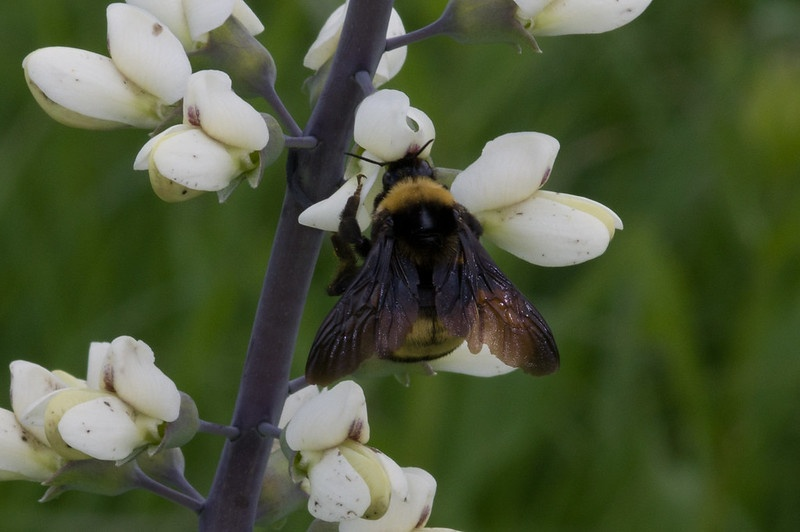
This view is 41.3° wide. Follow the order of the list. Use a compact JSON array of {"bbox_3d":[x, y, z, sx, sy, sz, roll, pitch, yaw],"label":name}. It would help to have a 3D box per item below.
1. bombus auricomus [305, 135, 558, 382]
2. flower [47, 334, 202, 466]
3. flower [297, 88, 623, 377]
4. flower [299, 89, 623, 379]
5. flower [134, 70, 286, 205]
[{"bbox_3d":[0.043,0.010,1.227,0.277,0.129,0.407,-10,52,11],"label":"bombus auricomus"},{"bbox_3d":[-0.312,0.150,1.178,0.157,0.143,0.097,10,11,23],"label":"flower"},{"bbox_3d":[0.042,0.001,1.212,0.226,0.116,0.373,-3,58,0],"label":"flower"},{"bbox_3d":[0.036,0.007,1.222,0.261,0.127,0.406,-3,52,-1],"label":"flower"},{"bbox_3d":[-0.212,-0.145,1.220,0.115,0.158,0.193,14,30,34],"label":"flower"}]
